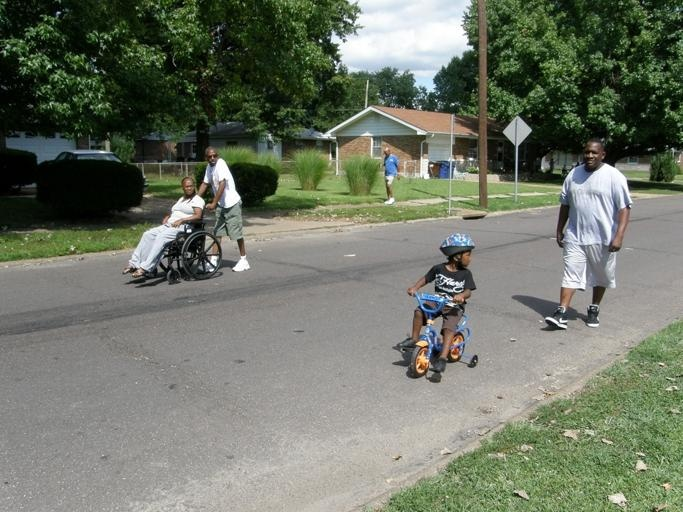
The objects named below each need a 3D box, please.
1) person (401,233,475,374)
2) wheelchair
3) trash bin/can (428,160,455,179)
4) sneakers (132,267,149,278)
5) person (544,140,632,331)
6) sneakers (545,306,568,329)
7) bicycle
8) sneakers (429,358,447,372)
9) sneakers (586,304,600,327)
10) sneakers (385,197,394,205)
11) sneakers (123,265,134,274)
[{"bbox_3d":[1.071,0.463,6.795,0.787,1.453,1.126,2,13,12],"label":"person"},{"bbox_3d":[-2.594,-0.168,10.671,1.154,1.049,1.211,2,4,13],"label":"wheelchair"},{"bbox_3d":[6.620,-5.739,41.970,1.677,1.093,2.930,-1,13,-4],"label":"trash bin/can"},{"bbox_3d":[-3.129,0.252,9.996,0.169,0.104,0.310,0,-2,-2],"label":"sneakers"},{"bbox_3d":[3.058,-0.249,7.878,0.838,2.359,0.707,5,14,23],"label":"person"},{"bbox_3d":[2.701,0.792,8.068,0.162,0.285,0.481,-5,-19,43],"label":"sneakers"},{"bbox_3d":[1.050,0.820,6.803,0.574,0.828,1.166,5,6,36],"label":"bicycle"},{"bbox_3d":[1.000,1.123,6.564,0.144,0.177,0.198,2,13,9],"label":"sneakers"},{"bbox_3d":[3.217,0.771,8.176,0.117,0.160,0.366,-1,12,21],"label":"sneakers"},{"bbox_3d":[1.713,-2.006,23.243,0.181,0.211,0.515,-8,3,25],"label":"sneakers"},{"bbox_3d":[-3.301,0.201,9.861,0.121,0.098,0.259,-1,-5,-8],"label":"sneakers"}]
